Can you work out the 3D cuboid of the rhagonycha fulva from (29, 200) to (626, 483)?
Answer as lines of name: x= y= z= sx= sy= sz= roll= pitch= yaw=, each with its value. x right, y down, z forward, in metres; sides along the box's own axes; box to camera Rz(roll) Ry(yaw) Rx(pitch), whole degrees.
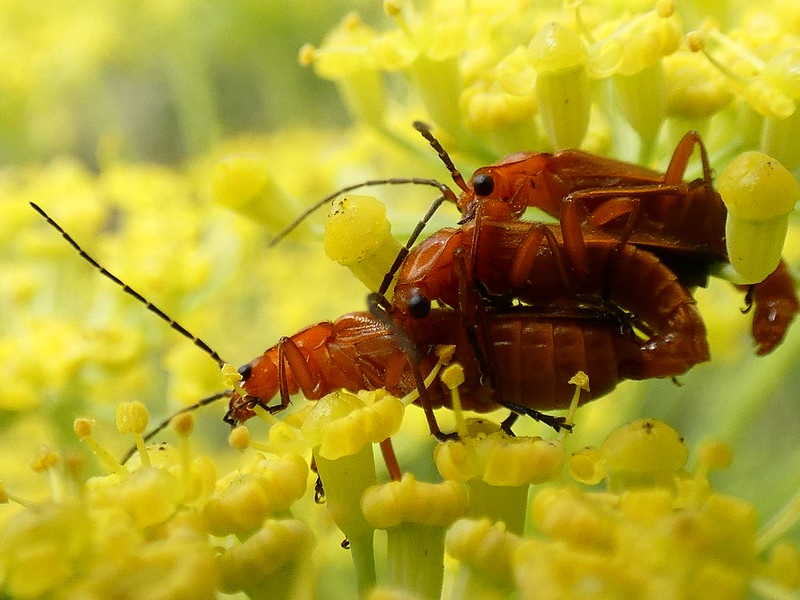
rhagonycha fulva: x=0.025 y=0.073 z=1.603 sx=0.563 sy=0.200 sz=0.391 roll=1 pitch=12 yaw=5

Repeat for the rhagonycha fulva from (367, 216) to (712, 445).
rhagonycha fulva: x=0.276 y=-0.026 z=1.680 sx=0.580 sy=0.448 sz=0.390 roll=3 pitch=10 yaw=30

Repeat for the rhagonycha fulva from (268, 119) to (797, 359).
rhagonycha fulva: x=0.378 y=-0.112 z=1.735 sx=0.554 sy=0.192 sz=0.410 roll=11 pitch=12 yaw=6
